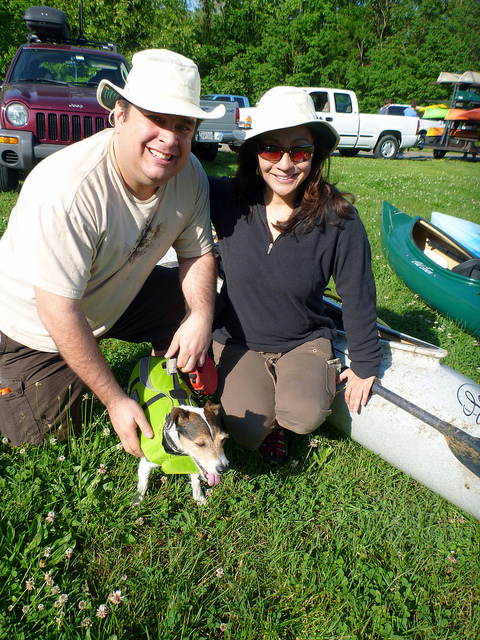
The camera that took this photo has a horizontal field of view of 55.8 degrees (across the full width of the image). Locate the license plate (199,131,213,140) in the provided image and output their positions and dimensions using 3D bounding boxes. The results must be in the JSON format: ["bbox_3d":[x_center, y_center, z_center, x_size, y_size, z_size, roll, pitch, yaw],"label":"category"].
[{"bbox_3d":[-0.829,-4.484,10.915,0.138,0.193,0.472,18,30,31],"label":"license plate"}]

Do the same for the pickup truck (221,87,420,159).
[{"bbox_3d":[4.334,-6.778,15.763,4.316,2.219,0.739,-10,26,-24],"label":"pickup truck"}]

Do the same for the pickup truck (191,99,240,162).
[{"bbox_3d":[-0.619,-4.692,11.296,1.143,1.430,1.970,0,26,-5],"label":"pickup truck"}]
